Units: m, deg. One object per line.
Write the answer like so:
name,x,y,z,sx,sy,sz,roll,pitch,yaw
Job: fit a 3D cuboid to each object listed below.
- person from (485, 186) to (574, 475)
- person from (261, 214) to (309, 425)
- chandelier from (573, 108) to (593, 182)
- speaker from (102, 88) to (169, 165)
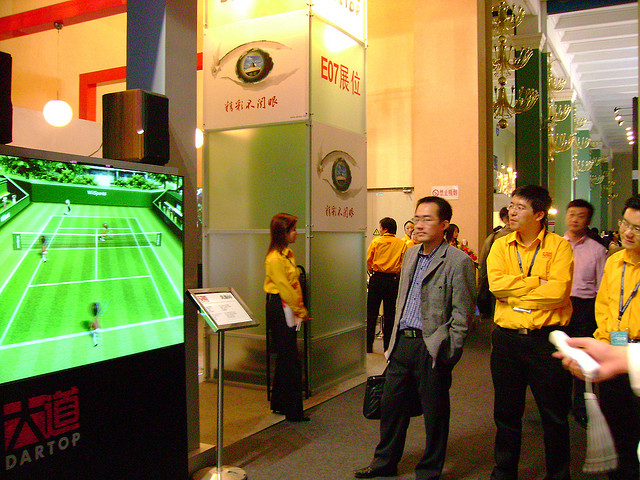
person,1.405,0.656,3.240,0.535,2.048,0.309,1,2,21
person,-0.310,0.712,4.449,0.426,1.893,0.310,0,2,3
chandelier,8.839,-3.543,16.319,0.442,1.510,0.389,-22,23,-11
speaker,-1.209,-0.724,3.136,0.320,0.435,0.259,2,4,17
